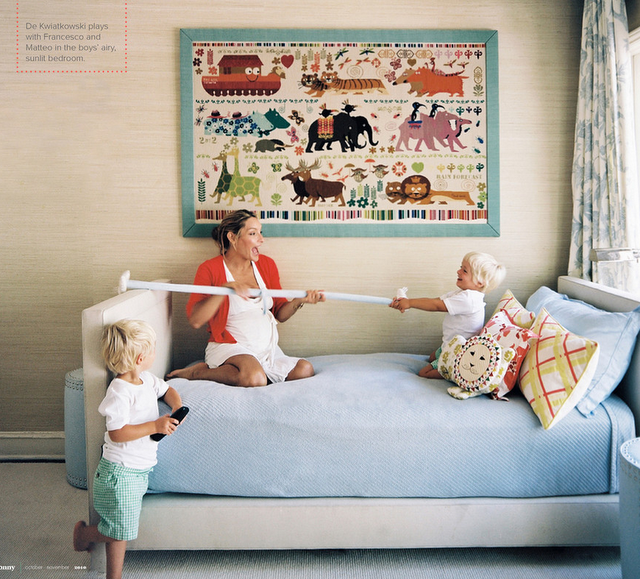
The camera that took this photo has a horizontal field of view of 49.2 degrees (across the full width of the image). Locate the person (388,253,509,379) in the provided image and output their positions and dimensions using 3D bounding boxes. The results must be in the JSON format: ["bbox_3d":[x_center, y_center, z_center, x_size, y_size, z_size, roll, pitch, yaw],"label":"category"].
[{"bbox_3d":[0.662,0.060,3.612,0.801,0.718,0.424,2,2,11],"label":"person"}]

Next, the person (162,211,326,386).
[{"bbox_3d":[-0.344,0.047,3.414,0.826,0.760,0.627,3,7,-10],"label":"person"}]

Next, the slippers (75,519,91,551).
[{"bbox_3d":[-0.946,0.983,2.801,0.060,0.115,0.071,-4,-15,-1],"label":"slippers"}]

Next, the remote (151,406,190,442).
[{"bbox_3d":[-0.589,0.537,2.763,0.178,0.067,0.058,-39,34,-13],"label":"remote"}]

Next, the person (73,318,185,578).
[{"bbox_3d":[-0.755,0.644,2.779,0.462,1.043,0.329,-5,14,-22],"label":"person"}]

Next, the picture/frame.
[{"bbox_3d":[0.074,-0.806,3.677,1.783,0.967,0.016,8,23,26],"label":"picture/frame"}]
